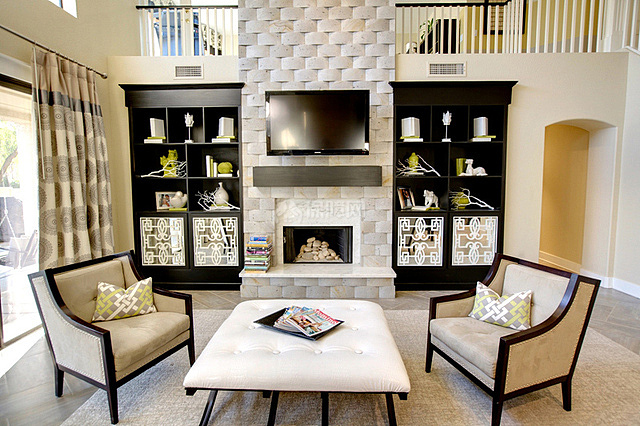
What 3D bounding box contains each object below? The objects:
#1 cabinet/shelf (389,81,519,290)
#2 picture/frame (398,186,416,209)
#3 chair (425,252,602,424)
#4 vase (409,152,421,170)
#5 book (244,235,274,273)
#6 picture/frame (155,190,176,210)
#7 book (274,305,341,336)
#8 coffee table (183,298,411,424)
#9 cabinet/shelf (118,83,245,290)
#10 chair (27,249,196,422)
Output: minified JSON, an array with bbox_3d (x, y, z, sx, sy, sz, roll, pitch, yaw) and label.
[{"bbox_3d":[1.935,-0.401,7.153,1.787,3.040,0.592,-1,7,0],"label":"cabinet/shelf"},{"bbox_3d":[1.279,-0.239,7.076,0.324,0.302,0.082,2,-9,-17],"label":"picture/frame"},{"bbox_3d":[2.149,1.258,5.641,1.850,1.827,1.577,0,3,-22],"label":"chair"},{"bbox_3d":[1.412,-0.782,7.125,0.122,0.240,0.223,19,-13,-37],"label":"vase"},{"bbox_3d":[-0.908,0.568,6.909,0.394,0.491,0.320,-1,7,-5],"label":"book"},{"bbox_3d":[-2.348,-0.197,7.195,0.297,0.273,0.031,0,3,-7],"label":"picture/frame"},{"bbox_3d":[-0.125,1.152,5.089,0.347,0.081,0.373,5,8,28],"label":"book"},{"bbox_3d":[-0.178,1.409,5.006,2.107,0.594,0.908,0,6,1],"label":"coffee table"},{"bbox_3d":[-1.987,-0.389,7.216,1.724,3.003,0.574,0,7,2],"label":"cabinet/shelf"},{"bbox_3d":[-2.274,1.214,5.865,1.744,2.021,1.592,1,4,23],"label":"chair"}]
